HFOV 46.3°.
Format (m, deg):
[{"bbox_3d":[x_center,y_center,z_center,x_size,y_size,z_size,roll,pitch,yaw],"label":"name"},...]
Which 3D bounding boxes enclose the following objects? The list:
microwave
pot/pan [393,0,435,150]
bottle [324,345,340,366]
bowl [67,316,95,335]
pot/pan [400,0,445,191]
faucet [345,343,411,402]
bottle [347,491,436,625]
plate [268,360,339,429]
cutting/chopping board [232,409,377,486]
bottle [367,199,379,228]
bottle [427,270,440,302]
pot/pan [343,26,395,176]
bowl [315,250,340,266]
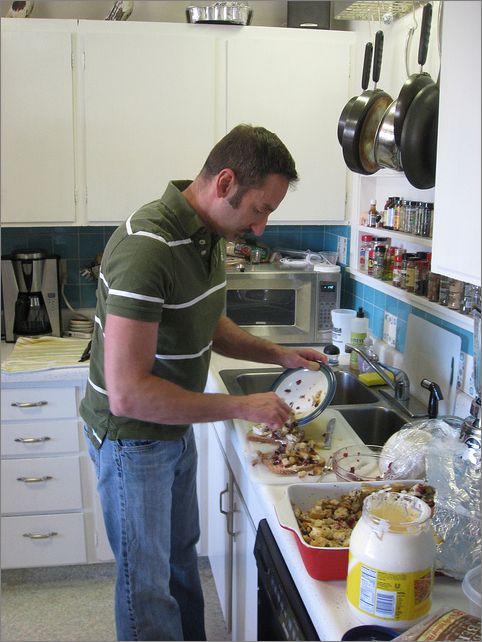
[{"bbox_3d":[0.189,-0.073,2.416,0.520,0.333,0.344,0,11,-5],"label":"microwave"},{"bbox_3d":[0.358,-0.500,1.180,0.041,0.265,0.151,7,-10,6],"label":"pot/pan"},{"bbox_3d":[0.314,0.121,1.953,0.055,0.073,0.055,-2,15,1],"label":"bottle"},{"bbox_3d":[-0.743,0.013,2.608,0.094,0.044,0.093,2,2,0],"label":"bowl"},{"bbox_3d":[0.367,-0.401,1.162,0.077,0.238,0.111,3,10,16],"label":"pot/pan"},{"bbox_3d":[0.392,0.143,1.822,0.066,0.129,0.325,-16,24,-15],"label":"faucet"},{"bbox_3d":[0.198,0.317,0.742,0.112,0.148,0.123,0,9,0],"label":"bottle"},{"bbox_3d":[0.195,0.211,1.594,0.038,0.165,0.165,36,16,-33],"label":"plate"},{"bbox_3d":[0.133,0.299,1.331,0.206,0.012,0.277,-1,18,-4],"label":"cutting/chopping board"},{"bbox_3d":[0.537,-0.441,2.279,0.048,0.114,0.139,2,10,12],"label":"bottle"},{"bbox_3d":[0.590,-0.106,1.726,0.031,0.089,0.123,3,10,15],"label":"bottle"},{"bbox_3d":[0.334,-0.573,1.479,0.082,0.332,0.182,9,11,27],"label":"pot/pan"},{"bbox_3d":[0.421,-0.312,2.686,0.099,0.071,0.099,1,8,0],"label":"bowl"}]
